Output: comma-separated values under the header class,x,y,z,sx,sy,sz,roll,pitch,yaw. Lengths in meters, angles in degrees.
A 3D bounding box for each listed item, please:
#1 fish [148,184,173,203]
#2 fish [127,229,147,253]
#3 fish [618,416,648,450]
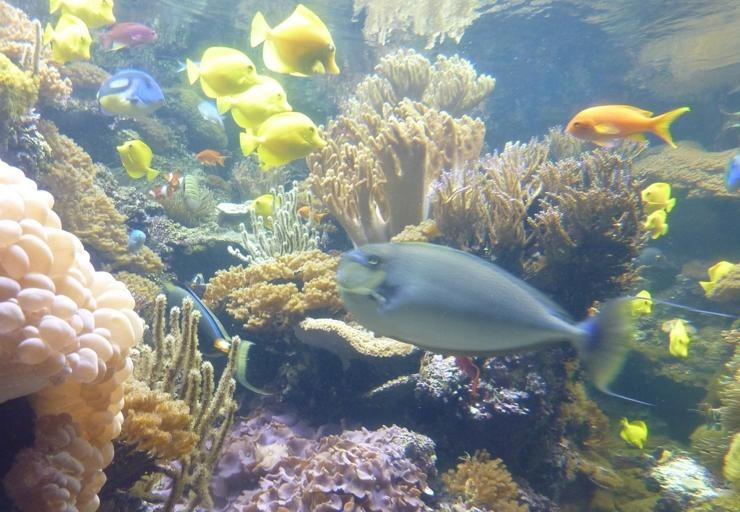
class,x,y,z,sx,sy,sz,roll,pitch,yaw
fish,-5.742,-1.771,19.495,0.637,0.405,0.322,-6,32,-16
fish,-5.848,-0.372,17.533,0.480,0.261,0.412,-19,17,30
fish,6.032,4.021,16.196,0.580,0.627,0.518,14,33,17
